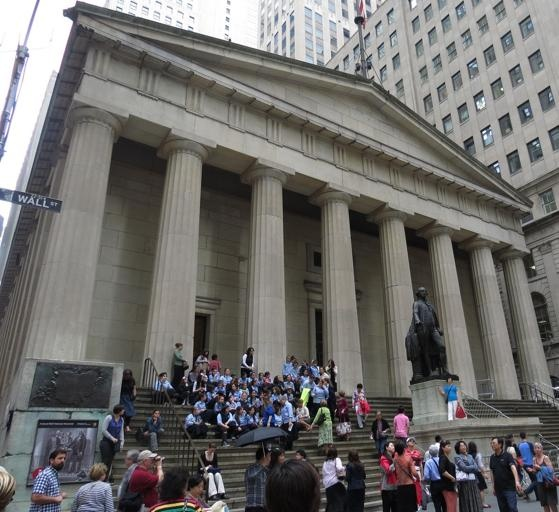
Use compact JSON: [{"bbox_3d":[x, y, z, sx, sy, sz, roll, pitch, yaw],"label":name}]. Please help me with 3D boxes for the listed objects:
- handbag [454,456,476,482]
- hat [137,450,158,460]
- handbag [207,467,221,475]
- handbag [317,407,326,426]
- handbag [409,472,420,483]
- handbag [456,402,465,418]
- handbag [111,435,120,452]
[{"bbox_3d":[3.651,4.120,7.866,0.470,0.429,0.271,4,-21,-11],"label":"handbag"},{"bbox_3d":[-2.045,3.028,6.145,0.250,0.133,0.467,6,-23,-17],"label":"hat"},{"bbox_3d":[-1.367,4.428,8.369,0.170,0.123,0.457,-11,-24,24],"label":"handbag"},{"bbox_3d":[1.287,4.945,12.344,0.278,0.414,0.147,3,-7,41],"label":"handbag"},{"bbox_3d":[2.444,3.951,7.277,0.140,0.207,0.071,-1,-7,-18],"label":"handbag"},{"bbox_3d":[6.237,5.273,13.833,0.223,0.458,0.409,-20,-28,41],"label":"handbag"},{"bbox_3d":[-3.539,4.056,8.698,0.150,0.269,0.395,4,-22,-10],"label":"handbag"}]
